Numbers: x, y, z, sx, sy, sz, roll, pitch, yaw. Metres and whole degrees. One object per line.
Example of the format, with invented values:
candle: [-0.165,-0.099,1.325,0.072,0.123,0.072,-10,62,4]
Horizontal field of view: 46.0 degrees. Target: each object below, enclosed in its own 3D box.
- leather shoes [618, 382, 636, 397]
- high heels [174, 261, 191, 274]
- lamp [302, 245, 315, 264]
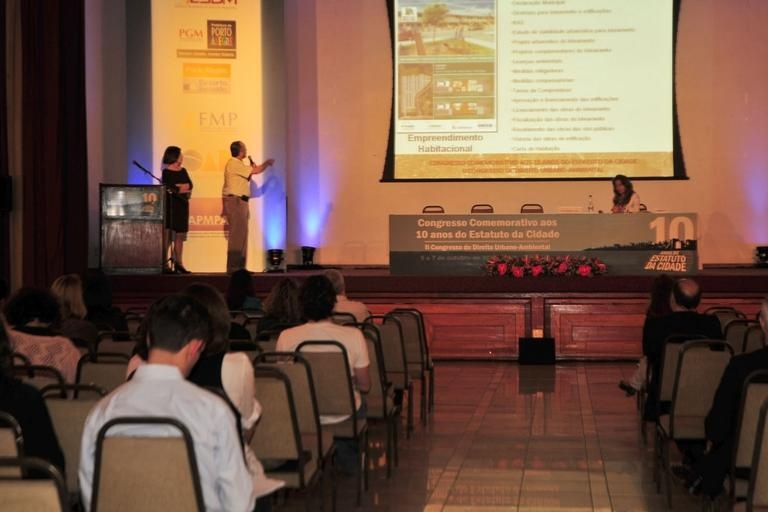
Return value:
leather shoes: [2.369,1.283,8.837,0.150,0.130,0.343,-18,-17,9]
high heels: [-2.916,0.182,13.353,0.373,0.199,0.130,-1,1,3]
lamp: [-1.282,-0.015,15.426,0.239,0.273,0.249,0,1,-1]
